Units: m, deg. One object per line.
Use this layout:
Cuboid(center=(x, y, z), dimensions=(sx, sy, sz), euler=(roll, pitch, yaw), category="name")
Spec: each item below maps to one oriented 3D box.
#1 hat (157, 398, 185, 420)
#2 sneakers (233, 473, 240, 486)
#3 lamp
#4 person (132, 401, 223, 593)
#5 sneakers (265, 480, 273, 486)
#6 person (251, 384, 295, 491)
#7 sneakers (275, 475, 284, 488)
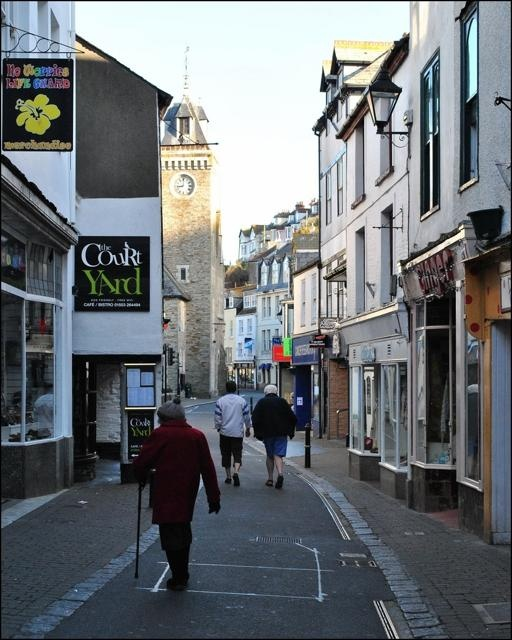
Cuboid(center=(-0.726, 0.780, 8.644), dimensions=(0.141, 0.209, 0.219), euler=(7, 5, -8), category="hat")
Cuboid(center=(-0.287, 2.369, 14.743), dimensions=(0.059, 0.221, 0.075), euler=(-2, 17, 7), category="sneakers")
Cuboid(center=(1.892, -3.004, 14.216), dimensions=(0.480, 1.224, 0.387), euler=(1, -13, 11), category="lamp")
Cuboid(center=(-0.665, 1.448, 8.491), dimensions=(0.561, 1.564, 0.689), euler=(-6, -7, 36), category="person")
Cuboid(center=(0.196, 2.433, 14.946), dimensions=(0.040, 0.109, 0.134), euler=(0, 6, -21), category="sneakers")
Cuboid(center=(0.274, 1.747, 15.067), dimensions=(0.661, 1.572, 0.796), euler=(-2, -6, 0), category="person")
Cuboid(center=(0.354, 2.386, 14.700), dimensions=(0.069, 0.253, 0.092), euler=(3, 1, -3), category="sneakers")
